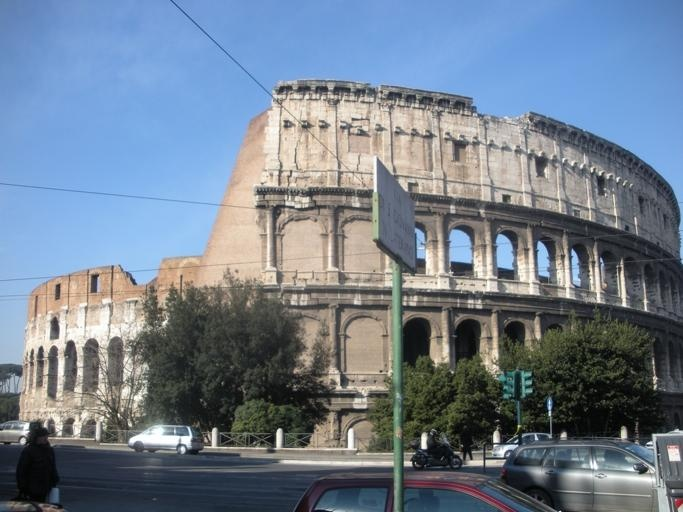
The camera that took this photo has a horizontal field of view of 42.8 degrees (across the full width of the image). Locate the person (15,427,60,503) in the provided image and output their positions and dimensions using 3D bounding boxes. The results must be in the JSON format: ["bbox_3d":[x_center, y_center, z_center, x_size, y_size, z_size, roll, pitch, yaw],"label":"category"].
[{"bbox_3d":[-9.037,6.173,25.956,1.140,2.188,0.503,5,-16,-20],"label":"person"}]

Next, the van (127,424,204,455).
[{"bbox_3d":[-9.338,10.016,47.263,3.572,1.411,1.716,1,-14,23],"label":"van"}]

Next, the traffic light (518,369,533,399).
[{"bbox_3d":[8.164,5.608,38.596,0.447,1.198,0.917,-7,-16,22],"label":"traffic light"}]
